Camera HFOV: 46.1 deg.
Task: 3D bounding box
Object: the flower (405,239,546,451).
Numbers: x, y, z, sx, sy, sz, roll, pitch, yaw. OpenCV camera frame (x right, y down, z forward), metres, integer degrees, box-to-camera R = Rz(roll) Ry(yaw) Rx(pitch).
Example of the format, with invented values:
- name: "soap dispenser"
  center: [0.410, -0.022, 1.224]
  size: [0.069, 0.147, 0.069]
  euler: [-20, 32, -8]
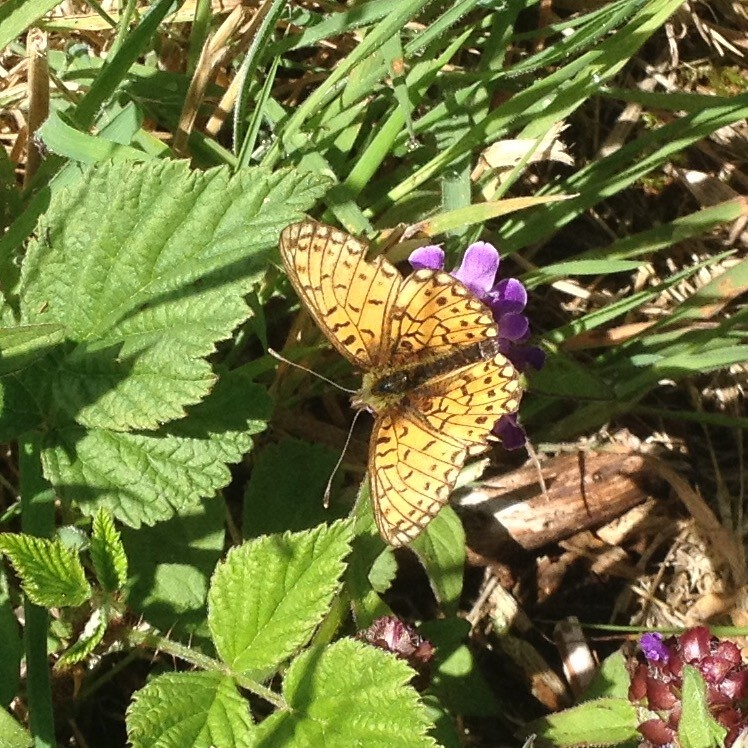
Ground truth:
- name: "flower"
  center: [0.233, -0.076, 2.571]
  size: [0.353, 0.212, 0.586]
  euler: [-11, 40, -9]
